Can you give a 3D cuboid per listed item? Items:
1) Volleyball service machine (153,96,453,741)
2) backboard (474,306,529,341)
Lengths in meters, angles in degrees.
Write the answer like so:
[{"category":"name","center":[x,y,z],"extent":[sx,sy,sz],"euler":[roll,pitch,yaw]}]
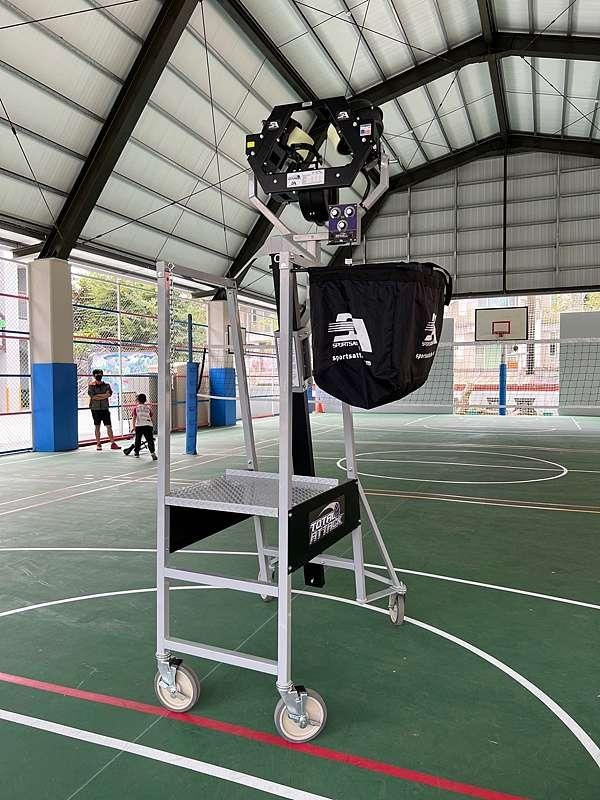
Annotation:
[{"category":"Volleyball service machine","center":[0.026,-0.144,3.058],"extent":[1.373,3.007,1.619],"euler":[0,1,13]},{"category":"backboard","center":[7.399,-2.764,21.637],"extent":[1.743,1.226,0.336],"euler":[-1,-2,34]}]
